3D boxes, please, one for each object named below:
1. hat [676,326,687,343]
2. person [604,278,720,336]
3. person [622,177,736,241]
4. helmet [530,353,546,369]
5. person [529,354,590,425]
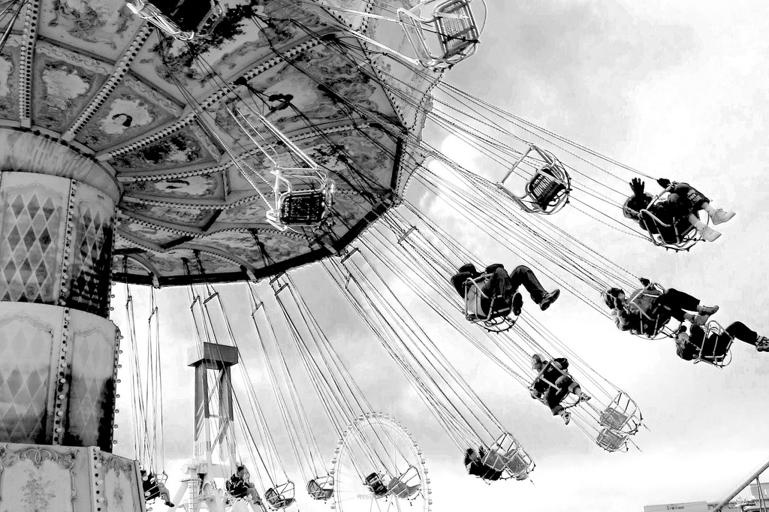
[{"bbox_3d":[4.750,1.249,9.603,0.063,0.258,0.195,17,-16,-34],"label":"hat"},{"bbox_3d":[4.309,0.859,9.531,1.555,1.468,0.581,-1,-60,20],"label":"person"},{"bbox_3d":[4.058,-0.621,8.379,0.769,1.277,0.579,-55,-45,-11],"label":"person"},{"bbox_3d":[2.632,1.798,10.326,0.192,0.244,0.229,-12,-14,7],"label":"helmet"},{"bbox_3d":[2.949,2.229,10.262,0.710,1.132,0.785,2,-49,-23],"label":"person"}]
